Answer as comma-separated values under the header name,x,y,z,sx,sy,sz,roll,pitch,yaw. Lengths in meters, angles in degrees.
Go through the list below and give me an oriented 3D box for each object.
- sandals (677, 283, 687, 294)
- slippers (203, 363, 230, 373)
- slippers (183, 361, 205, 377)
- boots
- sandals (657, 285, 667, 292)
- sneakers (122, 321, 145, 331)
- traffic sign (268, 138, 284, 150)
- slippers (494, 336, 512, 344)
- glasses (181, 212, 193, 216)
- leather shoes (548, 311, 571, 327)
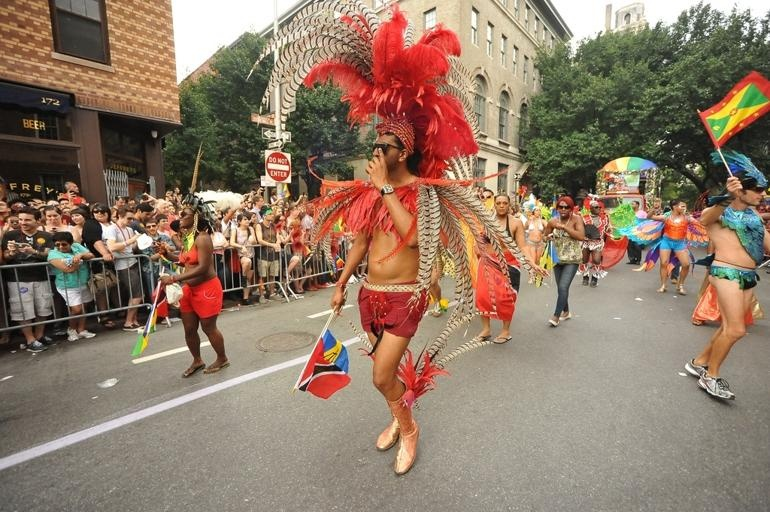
name,x,y,z,sx,sy,sz,roll,pitch,yaw
sandals,6.650,0.660,10.246,0.144,0.208,0.302,-5,7,3
slippers,-2.493,1.575,6.793,0.330,0.133,0.115,1,3,-42
slippers,-2.792,1.604,6.767,0.124,0.142,0.350,-8,0,29
boots,0.138,1.958,5.354,0.493,0.848,0.417,-3,5,2
sandals,6.335,0.680,10.458,0.121,0.162,0.375,0,-2,42
sneakers,-4.581,1.214,8.331,0.417,0.184,0.170,1,3,-9
traffic sign,-2.520,-2.584,10.564,0.434,0.190,0.577,-9,16,-10
slippers,1.906,1.288,7.486,0.300,0.074,0.124,2,-5,-40
glasses,-2.832,-0.632,6.543,0.082,0.058,0.076,2,1,0
leather shoes,3.234,1.079,8.278,0.671,0.289,0.183,1,-3,-45
